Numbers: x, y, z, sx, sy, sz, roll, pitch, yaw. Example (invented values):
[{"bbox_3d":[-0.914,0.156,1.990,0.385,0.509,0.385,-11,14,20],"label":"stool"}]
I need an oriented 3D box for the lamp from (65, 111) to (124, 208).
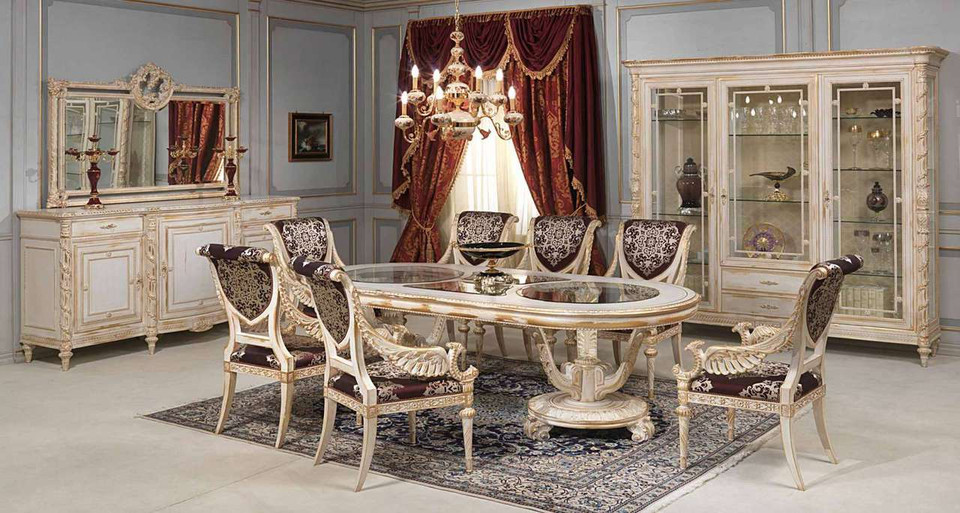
[{"bbox_3d":[-4.238,-0.958,7.149,0.521,0.807,0.383,-10,11,-27],"label":"lamp"}]

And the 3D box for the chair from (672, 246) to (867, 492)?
[{"bbox_3d":[2.320,0.733,5.842,1.779,2.298,1.598,3,4,35],"label":"chair"}]

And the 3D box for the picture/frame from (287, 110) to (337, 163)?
[{"bbox_3d":[-2.364,-1.659,8.966,0.844,0.761,0.062,-3,2,-40],"label":"picture/frame"}]

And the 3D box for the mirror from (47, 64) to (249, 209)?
[{"bbox_3d":[-3.939,-1.371,7.505,0.154,1.262,1.953,6,9,43],"label":"mirror"}]
